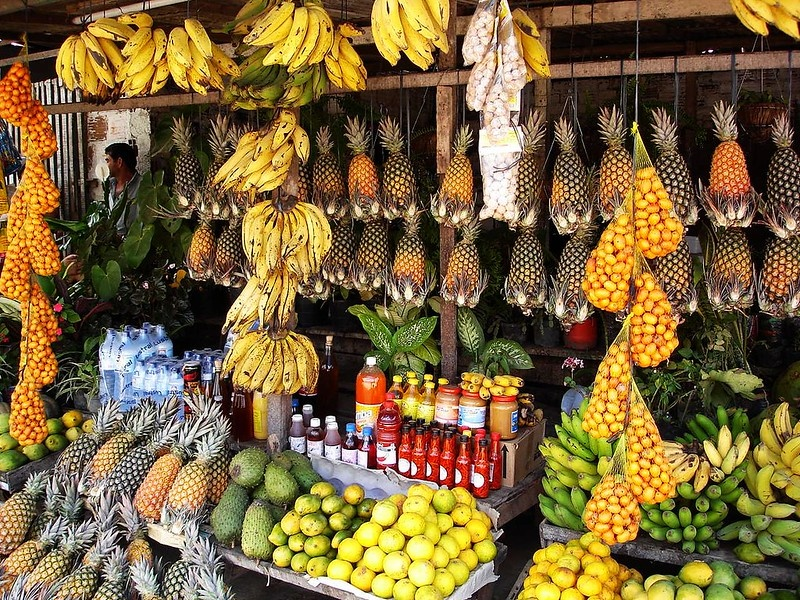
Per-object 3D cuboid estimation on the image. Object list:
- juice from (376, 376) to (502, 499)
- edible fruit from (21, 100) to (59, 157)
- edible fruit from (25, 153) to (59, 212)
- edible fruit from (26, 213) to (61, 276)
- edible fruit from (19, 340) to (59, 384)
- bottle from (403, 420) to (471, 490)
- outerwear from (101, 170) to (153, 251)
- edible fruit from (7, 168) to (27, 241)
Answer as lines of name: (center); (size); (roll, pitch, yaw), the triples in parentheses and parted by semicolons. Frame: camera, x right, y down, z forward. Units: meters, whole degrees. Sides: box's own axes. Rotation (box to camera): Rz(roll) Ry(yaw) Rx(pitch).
juice: (0.216, 0.741, 3.812); (0.433, 0.455, 0.216); (11, 13, 22)
edible fruit: (-1.971, -0.952, 3.938); (0.147, 0.370, 0.116); (-20, -20, -16)
edible fruit: (-1.959, -0.622, 3.941); (0.178, 0.308, 0.246); (-1, 8, -29)
edible fruit: (-1.962, -0.307, 3.954); (0.168, 0.347, 0.176); (-1, 7, -30)
edible fruit: (-1.997, 0.329, 4.018); (0.164, 0.258, 0.082); (-13, 11, -19)
bottle: (0.201, 0.791, 3.839); (0.367, 0.448, 0.235); (4, 1, 15)
outerwear: (-2.179, -0.768, 6.083); (0.575, 0.656, 0.563); (-3, 12, -29)
edible fruit: (-2.093, -0.508, 3.946); (0.083, 0.362, 0.229); (-1, 7, -29)
